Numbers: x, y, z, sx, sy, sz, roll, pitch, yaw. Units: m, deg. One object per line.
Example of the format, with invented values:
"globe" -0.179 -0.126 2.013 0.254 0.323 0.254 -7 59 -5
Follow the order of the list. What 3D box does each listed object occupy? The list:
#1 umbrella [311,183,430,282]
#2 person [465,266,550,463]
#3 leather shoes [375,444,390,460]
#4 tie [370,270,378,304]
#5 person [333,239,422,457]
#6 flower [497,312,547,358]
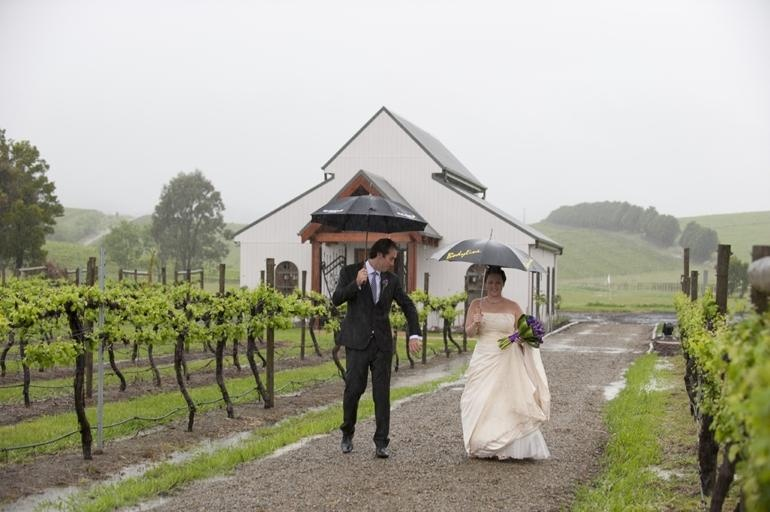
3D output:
"umbrella" -0.168 -0.389 11.722 1.489 1.179 1.689 0 -9 -2
"person" 1.918 1.668 11.156 1.345 3.004 0.851 1 5 7
"leather shoes" -0.055 3.063 10.881 0.237 0.173 0.194 1 5 11
"tie" -0.153 0.476 10.974 0.131 0.485 0.078 0 5 -2
"person" -0.184 1.421 10.998 1.230 3.416 0.710 -1 5 -7
"flower" 2.214 1.244 11.325 0.668 0.559 0.534 -22 20 27
